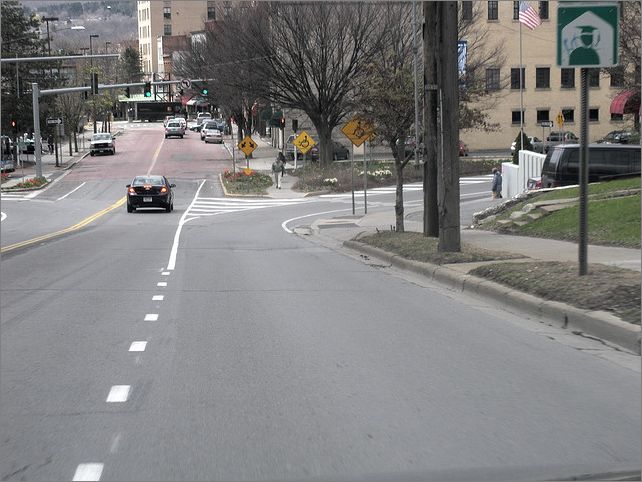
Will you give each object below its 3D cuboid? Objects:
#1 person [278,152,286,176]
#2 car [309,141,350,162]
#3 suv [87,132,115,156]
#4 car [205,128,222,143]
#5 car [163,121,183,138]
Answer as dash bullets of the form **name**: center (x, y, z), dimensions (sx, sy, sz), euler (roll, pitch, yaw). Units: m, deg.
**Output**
- **person**: center (-3.092, -6.347, 50.980), dimensions (0.601, 2.146, 0.546), euler (-1, 12, 5)
- **car**: center (1.618, -9.196, 64.186), dimensions (1.848, 1.574, 4.168), euler (2, 11, 16)
- **suv**: center (-26.140, -11.580, 75.414), dimensions (1.681, 1.788, 3.903), euler (-2, 1, -11)
- **car**: center (-15.692, -15.393, 92.161), dimensions (2.723, 2.149, 1.885), euler (3, 6, 31)
- **car**: center (-22.715, -17.320, 97.400), dimensions (2.583, 2.665, 2.678), euler (-1, 5, -12)
